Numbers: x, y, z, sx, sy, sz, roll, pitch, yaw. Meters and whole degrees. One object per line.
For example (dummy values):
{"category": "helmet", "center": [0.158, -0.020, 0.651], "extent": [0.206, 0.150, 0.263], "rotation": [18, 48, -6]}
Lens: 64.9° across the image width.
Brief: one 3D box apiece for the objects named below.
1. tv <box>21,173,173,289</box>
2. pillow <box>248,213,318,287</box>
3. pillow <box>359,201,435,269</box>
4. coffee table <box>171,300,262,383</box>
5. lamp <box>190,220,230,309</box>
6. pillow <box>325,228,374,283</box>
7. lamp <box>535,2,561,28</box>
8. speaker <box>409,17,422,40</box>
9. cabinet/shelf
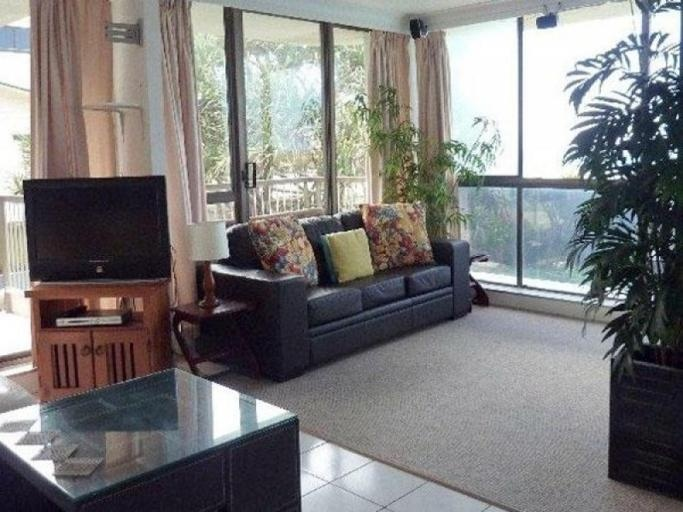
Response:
{"category": "tv", "center": [-1.730, -0.196, 4.068], "extent": [1.163, 1.017, 0.660], "rotation": [-1, 6, -3]}
{"category": "pillow", "center": [-0.512, -0.072, 4.335], "extent": [0.161, 0.562, 0.552], "rotation": [-28, -13, 35]}
{"category": "pillow", "center": [0.504, -0.180, 5.034], "extent": [0.510, 0.442, 0.223], "rotation": [-16, 20, -25]}
{"category": "coffee table", "center": [-0.955, 0.529, 3.974], "extent": [0.559, 0.591, 0.562], "rotation": [4, 8, 39]}
{"category": "lamp", "center": [-0.992, 0.044, 3.943], "extent": [0.270, 0.625, 0.502], "rotation": [-9, 14, -34]}
{"category": "pillow", "center": [0.091, -0.011, 4.735], "extent": [0.217, 0.414, 0.471], "rotation": [14, 19, 42]}
{"category": "lamp", "center": [1.953, -2.231, 5.074], "extent": [0.212, 0.234, 0.213], "rotation": [1, 11, 34]}
{"category": "speaker", "center": [0.810, -2.506, 5.918], "extent": [0.106, 0.211, 0.210], "rotation": [-9, 14, -33]}
{"category": "cabinet/shelf", "center": [-1.600, 0.547, 3.534], "extent": [0.706, 0.720, 0.312], "rotation": [-4, 5, -19]}
